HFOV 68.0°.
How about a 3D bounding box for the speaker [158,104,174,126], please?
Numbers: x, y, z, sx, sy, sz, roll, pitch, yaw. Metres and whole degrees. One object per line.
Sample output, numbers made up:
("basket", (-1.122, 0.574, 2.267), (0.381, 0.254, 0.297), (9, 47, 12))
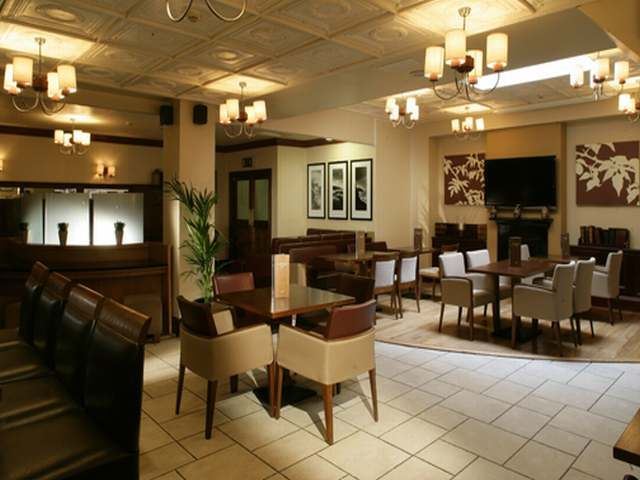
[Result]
("speaker", (-2.268, -1.876, 7.058), (0.210, 0.317, 0.267), (-4, 10, -20))

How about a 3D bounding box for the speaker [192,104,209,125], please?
("speaker", (-1.778, -1.875, 7.018), (0.204, 0.293, 0.139), (-1, 9, -5))

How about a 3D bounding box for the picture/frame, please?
("picture/frame", (0.490, -1.165, 10.601), (0.051, 1.059, 1.339), (-4, 5, -42))

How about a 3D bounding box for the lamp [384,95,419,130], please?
("lamp", (1.327, -2.099, 7.660), (0.489, 0.506, 0.483), (12, 17, 38))

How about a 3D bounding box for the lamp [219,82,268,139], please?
("lamp", (-1.058, -1.820, 6.475), (0.597, 0.782, 0.629), (2, 7, 35))

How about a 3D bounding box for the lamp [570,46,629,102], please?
("lamp", (3.643, -2.204, 6.196), (0.806, 0.739, 0.645), (-10, 13, -30))

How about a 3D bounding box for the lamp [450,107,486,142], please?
("lamp", (2.864, -2.282, 9.185), (0.586, 0.654, 0.610), (-2, 8, 2))

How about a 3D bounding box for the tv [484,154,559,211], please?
("tv", (3.963, -1.142, 9.225), (1.049, 0.843, 0.113), (4, 7, 44))
